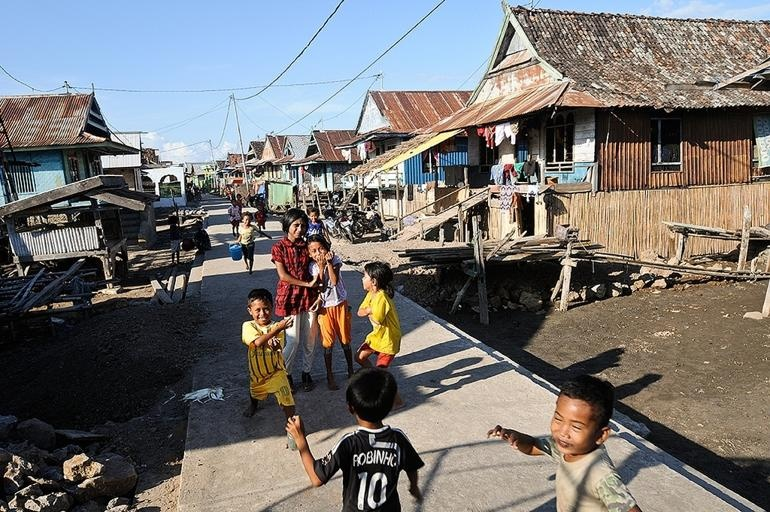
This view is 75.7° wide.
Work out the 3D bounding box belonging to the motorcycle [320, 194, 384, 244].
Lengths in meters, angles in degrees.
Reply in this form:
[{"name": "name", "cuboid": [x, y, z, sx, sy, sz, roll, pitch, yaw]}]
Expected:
[{"name": "motorcycle", "cuboid": [-1.516, -1.564, 22.345, 1.563, 1.812, 3.254, -1, 17, 4]}]
